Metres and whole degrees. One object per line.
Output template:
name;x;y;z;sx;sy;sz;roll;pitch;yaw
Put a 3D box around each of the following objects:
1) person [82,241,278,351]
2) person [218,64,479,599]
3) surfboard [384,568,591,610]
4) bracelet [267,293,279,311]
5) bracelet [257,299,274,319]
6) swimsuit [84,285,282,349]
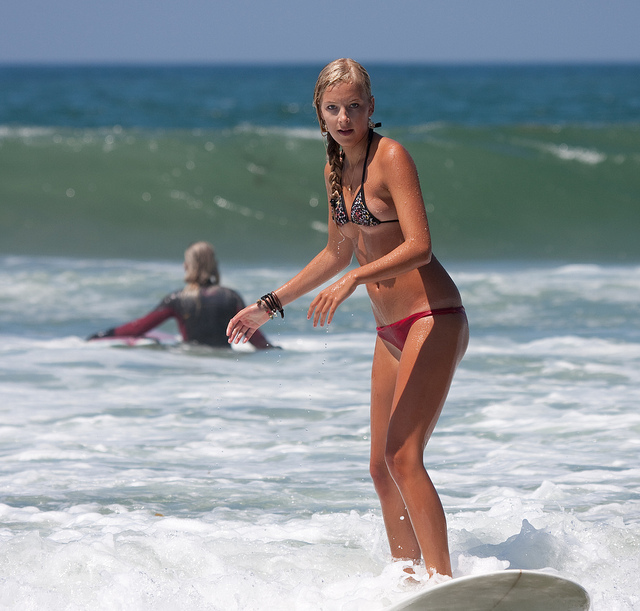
person;-1.105;0.027;10.336;2.104;1.043;0.477;-5;11;-36
person;0.099;0.202;5.977;1.713;2.823;1.164;-3;-3;0
surfboard;0.819;1.383;5.604;0.983;0.246;0.149;1;7;-4
bracelet;-0.248;-0.017;6.119;0.061;0.090;0.046;1;8;-2
bracelet;-0.291;0.020;6.107;0.018;0.132;0.026;-50;17;-25
swimsuit;-0.977;0.135;10.291;2.147;0.533;0.359;3;3;15
